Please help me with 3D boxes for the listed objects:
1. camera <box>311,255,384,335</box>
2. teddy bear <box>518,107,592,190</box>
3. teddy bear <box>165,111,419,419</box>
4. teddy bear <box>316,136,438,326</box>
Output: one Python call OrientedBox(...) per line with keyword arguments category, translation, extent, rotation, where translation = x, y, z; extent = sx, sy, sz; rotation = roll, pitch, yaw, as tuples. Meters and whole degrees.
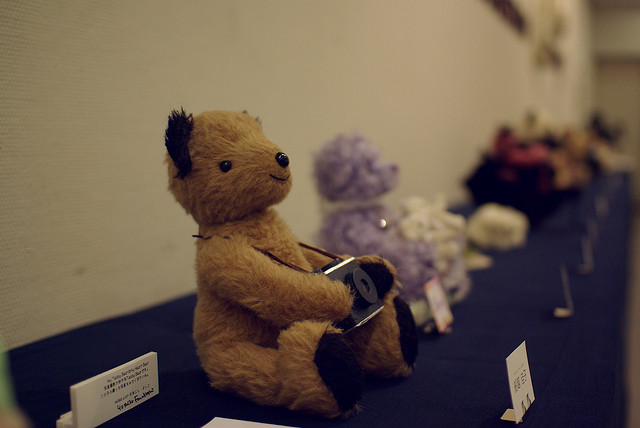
OrientedBox(category="camera", translation=(0.075, 0.230, 1.411), extent=(0.080, 0.140, 0.160), rotation=(-23, 7, 25))
OrientedBox(category="teddy bear", translation=(0.879, -0.236, 1.980), extent=(0.276, 0.358, 0.195), rotation=(-17, 16, -38))
OrientedBox(category="teddy bear", translation=(-0.157, 0.119, 1.432), extent=(0.549, 0.819, 0.300), rotation=(2, 15, 33))
OrientedBox(category="teddy bear", translation=(0.213, 0.013, 2.133), extent=(0.551, 0.725, 0.542), rotation=(0, 4, 19))
